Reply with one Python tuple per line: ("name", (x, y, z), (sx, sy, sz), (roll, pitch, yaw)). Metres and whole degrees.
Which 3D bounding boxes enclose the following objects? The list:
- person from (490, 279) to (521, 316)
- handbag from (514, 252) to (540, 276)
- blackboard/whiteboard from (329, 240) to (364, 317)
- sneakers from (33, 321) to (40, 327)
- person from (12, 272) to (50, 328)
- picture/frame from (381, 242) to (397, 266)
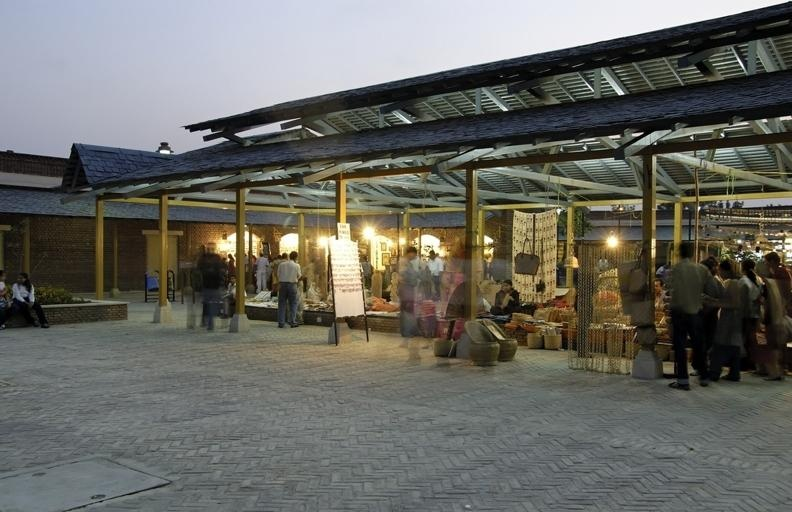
("person", (2.894, 1.105, 14.221), (0.768, 0.904, 0.722), (-3, -3, 8))
("handbag", (3.827, 0.246, 15.582), (1.042, 0.695, 0.344), (1, -10, 34))
("blackboard/whiteboard", (-1.242, 0.527, 12.809), (0.362, 1.873, 1.031), (-5, -4, 31))
("sneakers", (-10.707, 2.042, 15.689), (0.179, 0.108, 0.276), (2, 0, -35))
("person", (-10.806, 1.323, 15.643), (0.726, 1.582, 0.854), (-4, -3, 20))
("picture/frame", (-0.408, -0.063, 28.128), (1.710, 1.319, 0.157), (-4, -8, 37))
